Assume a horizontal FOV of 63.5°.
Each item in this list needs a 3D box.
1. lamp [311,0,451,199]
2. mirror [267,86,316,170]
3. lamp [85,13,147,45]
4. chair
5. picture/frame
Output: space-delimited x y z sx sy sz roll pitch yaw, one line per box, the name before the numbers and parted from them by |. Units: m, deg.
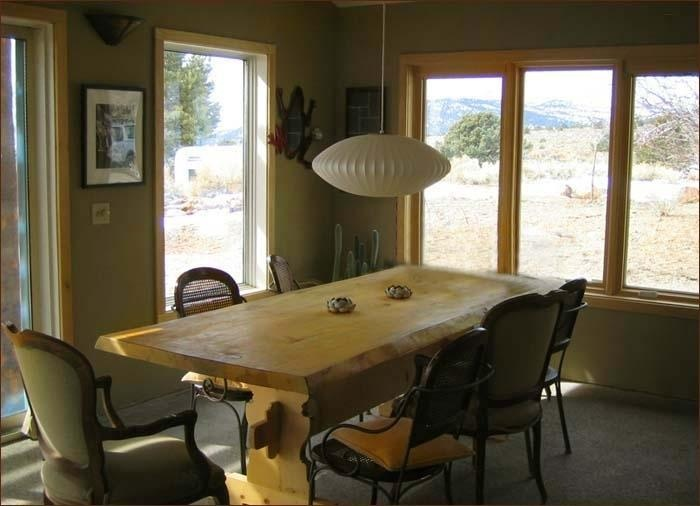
lamp | 0.140 -0.616 3.360 0.591 1.055 0.512 6 11 35
mirror | -0.505 -1.141 5.176 0.153 0.751 0.640 9 15 29
lamp | -1.556 -1.481 3.742 0.187 0.208 0.298 10 16 32
chair | -0.057 0.765 3.388 1.195 0.895 2.218 12 17 39
picture/frame | -1.629 -0.804 3.823 0.055 0.812 0.704 4 6 29
